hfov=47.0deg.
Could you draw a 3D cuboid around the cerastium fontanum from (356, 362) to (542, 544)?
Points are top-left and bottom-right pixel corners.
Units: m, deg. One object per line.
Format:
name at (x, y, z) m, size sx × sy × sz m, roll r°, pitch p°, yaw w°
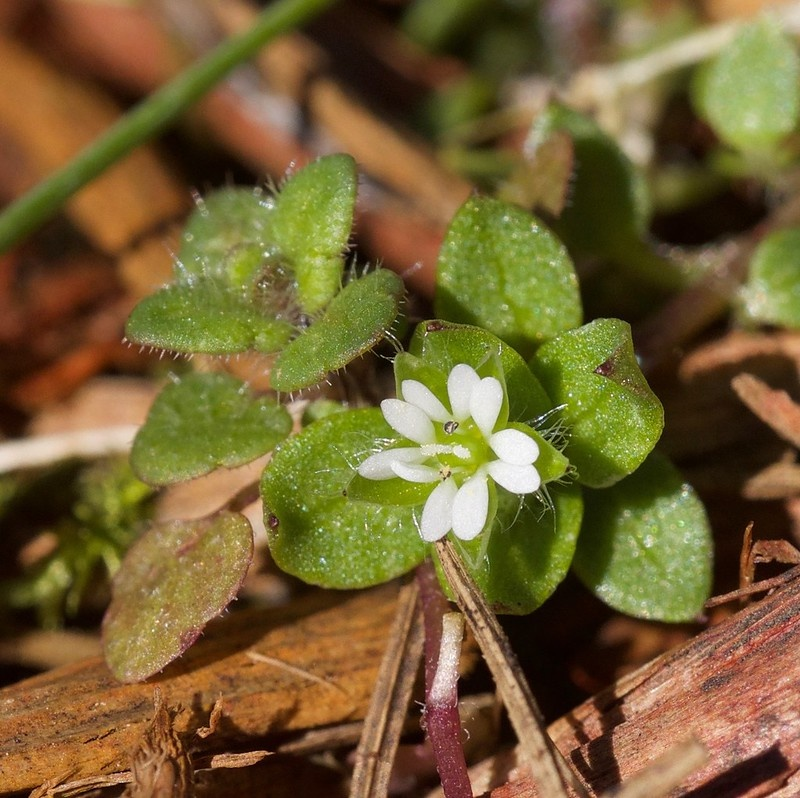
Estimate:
cerastium fontanum at (0.119, 0.087, 1.738) m, size 0.345 × 0.134 × 0.329 m, roll 27°, pitch 107°, yaw 22°
